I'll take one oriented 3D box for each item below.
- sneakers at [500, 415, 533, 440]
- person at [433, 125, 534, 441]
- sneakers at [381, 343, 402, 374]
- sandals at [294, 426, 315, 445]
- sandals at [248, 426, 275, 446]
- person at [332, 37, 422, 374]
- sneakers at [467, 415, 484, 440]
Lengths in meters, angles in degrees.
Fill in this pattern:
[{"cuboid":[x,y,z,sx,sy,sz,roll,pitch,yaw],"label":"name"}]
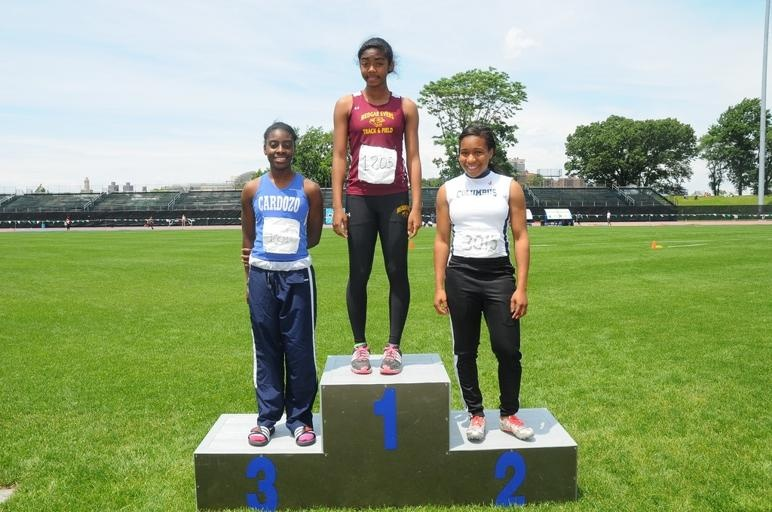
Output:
[{"cuboid":[1.214,1.611,5.546,0.130,0.150,0.336,-11,13,-40],"label":"sneakers"},{"cuboid":[0.958,0.286,5.751,0.911,3.073,1.278,-4,15,-10],"label":"person"},{"cuboid":[0.051,1.001,5.692,0.246,0.266,0.595,0,-6,1],"label":"sneakers"},{"cuboid":[-0.768,1.687,5.507,0.205,0.116,0.205,-4,15,-11],"label":"sandals"},{"cuboid":[-1.186,1.678,5.513,0.208,0.121,0.254,-1,15,0],"label":"sandals"},{"cuboid":[-0.099,-0.575,6.087,0.926,3.250,1.376,-2,15,-3],"label":"person"},{"cuboid":[0.856,1.619,5.562,0.170,0.151,0.317,2,15,11],"label":"sneakers"}]
